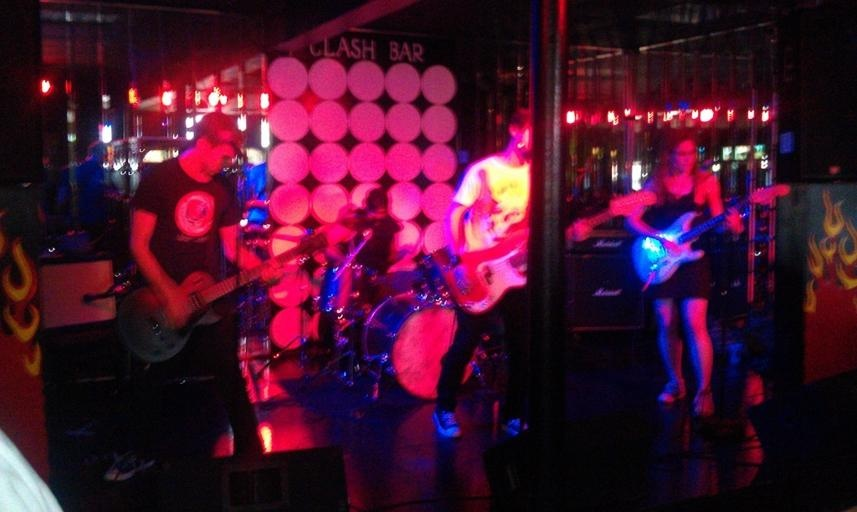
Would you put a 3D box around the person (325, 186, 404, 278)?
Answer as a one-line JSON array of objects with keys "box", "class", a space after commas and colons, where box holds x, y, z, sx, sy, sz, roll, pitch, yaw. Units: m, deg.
[{"box": [-0.522, -0.192, 7.432, 0.569, 0.871, 0.244, -3, 19, -21], "class": "person"}]

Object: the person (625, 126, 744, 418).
[{"box": [2.175, 0.122, 6.600, 0.676, 2.354, 0.713, -5, 7, -24], "class": "person"}]

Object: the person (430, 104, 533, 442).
[{"box": [0.430, 0.131, 6.290, 0.809, 2.632, 0.448, -2, 6, 1], "class": "person"}]

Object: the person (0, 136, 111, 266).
[{"box": [-3.527, -0.577, 7.630, 0.631, 1.117, 0.489, -5, 8, -25], "class": "person"}]
